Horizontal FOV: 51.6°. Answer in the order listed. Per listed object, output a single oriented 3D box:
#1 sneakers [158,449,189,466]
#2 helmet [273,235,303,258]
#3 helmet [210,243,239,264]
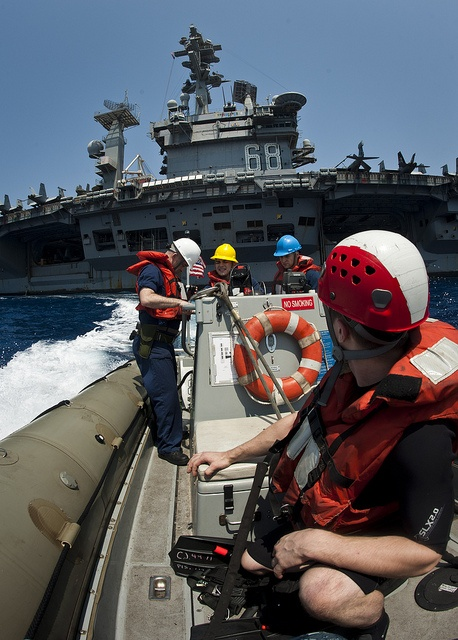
[{"bbox_3d":[-0.373,0.966,3.341,0.229,0.089,0.084,0,7,27],"label":"sneakers"},{"bbox_3d":[0.569,-0.686,4.448,0.188,0.143,0.236,0,13,37],"label":"helmet"},{"bbox_3d":[-0.032,-0.635,4.609,0.184,0.128,0.222,13,5,13],"label":"helmet"}]
